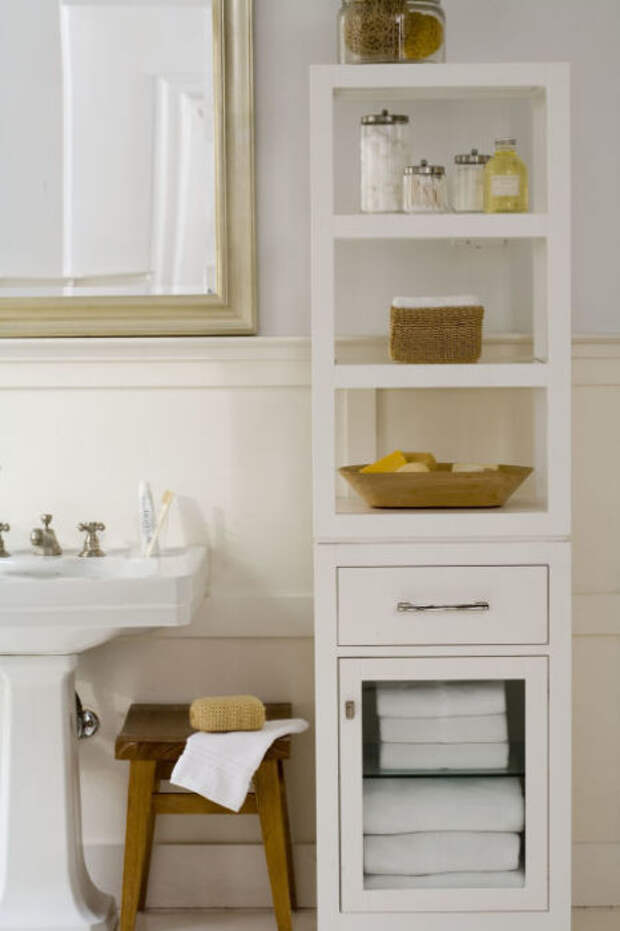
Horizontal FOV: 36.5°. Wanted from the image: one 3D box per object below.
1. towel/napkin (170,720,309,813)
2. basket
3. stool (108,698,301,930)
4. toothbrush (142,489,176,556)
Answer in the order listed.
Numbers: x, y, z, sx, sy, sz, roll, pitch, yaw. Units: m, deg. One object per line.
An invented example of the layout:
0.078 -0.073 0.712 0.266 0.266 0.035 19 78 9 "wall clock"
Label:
-0.151 0.534 1.704 0.171 0.057 0.179 5 14 32 "towel/napkin"
0.226 -0.235 1.667 0.179 0.114 0.109 0 2 0 "basket"
-0.195 0.700 1.966 0.403 0.464 0.421 0 -8 0 "stool"
-0.304 0.123 1.920 0.028 0.142 0.028 18 -4 14 "toothbrush"
